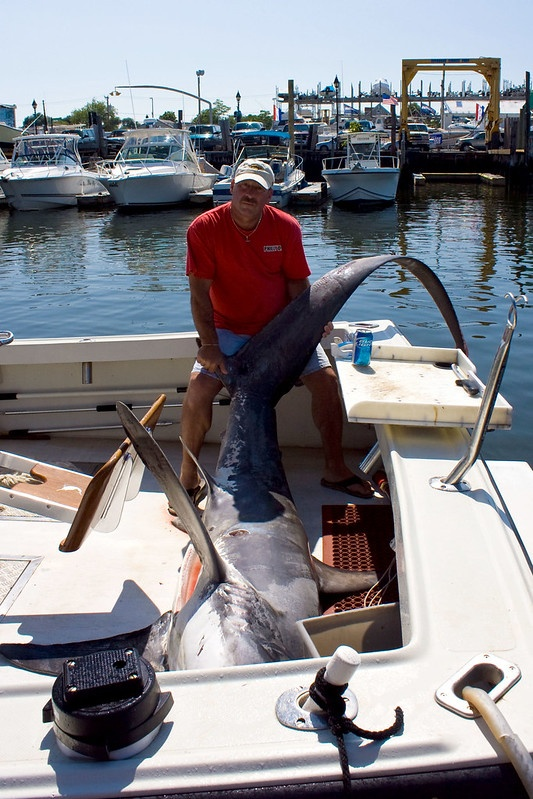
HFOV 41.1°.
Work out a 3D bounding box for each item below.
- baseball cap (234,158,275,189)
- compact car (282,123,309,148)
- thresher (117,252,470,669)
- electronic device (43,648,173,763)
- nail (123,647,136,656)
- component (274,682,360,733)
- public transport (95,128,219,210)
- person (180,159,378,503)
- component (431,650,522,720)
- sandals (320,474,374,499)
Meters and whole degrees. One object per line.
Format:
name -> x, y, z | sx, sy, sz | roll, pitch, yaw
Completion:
baseball cap -> -0.055, -1.101, 3.445 | 0.154, 0.109, 0.217 | 18, 0, 2
compact car -> 1.732, -14.761, 39.550 | 1.249, 1.699, 6.497 | -1, 16, 4
thresher -> 0.020, 0.251, 2.651 | 1.143, 0.705, 1.706 | 17, 39, -9
electronic device -> -0.291, 0.524, 1.277 | 0.207, 0.106, 0.222 | -5, 16, -13
nail -> -0.249, 0.461, 1.299 | 0.014, 0.009, 0.013 | 2, 6, -3
component -> 0.094, 0.560, 1.280 | 0.100, 0.023, 0.095 | -2, 15, -13
public transport -> -3.750, -7.749, 24.002 | 1.995, 1.582, 4.223 | 4, 29, 5
person -> 0.064, -0.321, 3.431 | 1.071, 1.606, 0.968 | 6, 23, 16
component -> 0.409, 0.563, 1.374 | 0.182, 0.041, 0.098 | -18, 21, -35
sandals -> 0.407, 0.419, 3.585 | 0.237, 0.061, 0.102 | 10, 27, 29
